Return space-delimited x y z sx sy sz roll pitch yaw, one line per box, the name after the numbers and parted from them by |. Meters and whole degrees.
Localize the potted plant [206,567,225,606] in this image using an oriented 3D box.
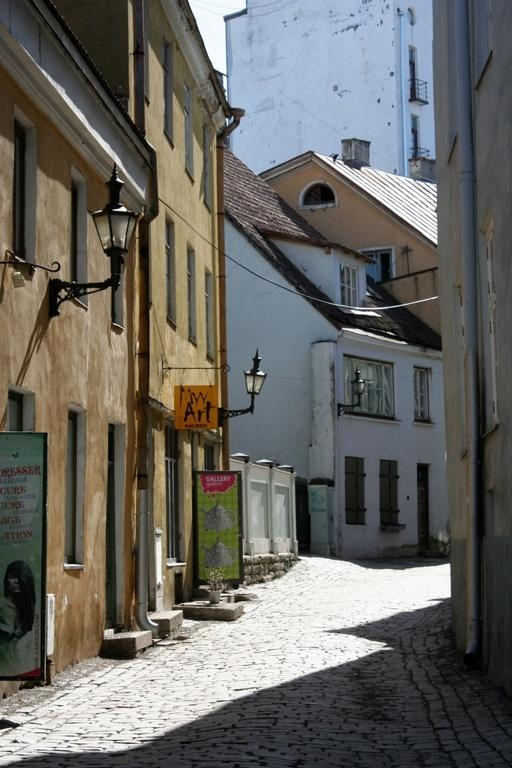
-0.545 2.733 15.257 0.191 0.712 0.281 -1 -3 14 | potted plant

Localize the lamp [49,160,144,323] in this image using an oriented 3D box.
-1.322 -1.174 9.300 0.529 1.378 0.376 3 16 -13 | lamp

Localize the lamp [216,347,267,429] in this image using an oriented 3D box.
-0.199 0.013 18.284 0.528 1.423 0.336 -1 -27 20 | lamp
